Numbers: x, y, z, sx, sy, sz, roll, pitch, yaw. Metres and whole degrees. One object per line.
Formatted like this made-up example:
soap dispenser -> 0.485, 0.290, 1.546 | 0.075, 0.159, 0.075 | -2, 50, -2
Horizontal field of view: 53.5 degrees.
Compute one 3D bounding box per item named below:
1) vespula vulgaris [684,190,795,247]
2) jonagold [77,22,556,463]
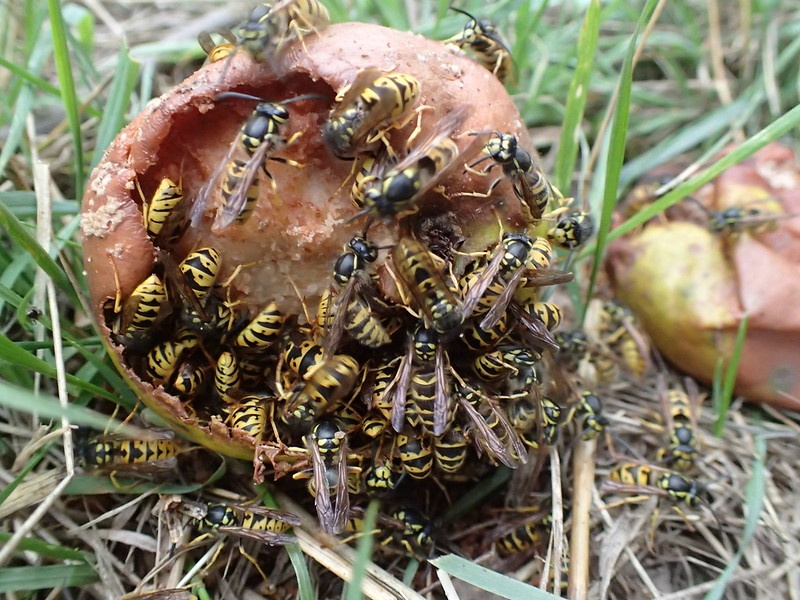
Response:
vespula vulgaris -> 1.307, -0.328, 3.070 | 0.168, 0.226, 0.062 | -16, 99, -35
jonagold -> -0.550, -0.183, 3.035 | 1.702, 1.079, 1.552 | -11, 105, -44
